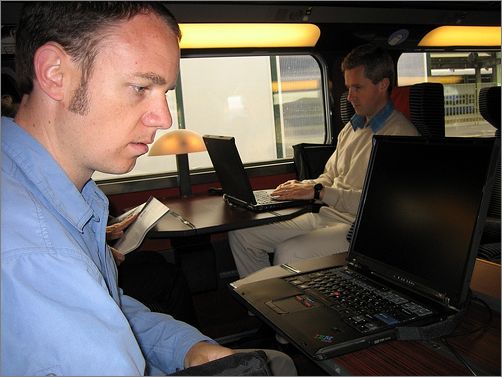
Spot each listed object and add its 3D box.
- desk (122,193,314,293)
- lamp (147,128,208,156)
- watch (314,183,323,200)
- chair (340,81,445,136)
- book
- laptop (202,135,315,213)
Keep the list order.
[{"bbox_3d":[-0.304,0.328,2.492,0.845,0.384,0.801,-3,7,-25],"label":"desk"},{"bbox_3d":[-0.586,-0.365,3.024,0.307,0.110,0.297,0,1,42],"label":"lamp"},{"bbox_3d":[0.472,0.026,2.630,0.065,0.087,0.100,11,34,17],"label":"watch"},{"bbox_3d":[1.057,-0.673,2.870,0.696,0.455,0.382,10,39,33],"label":"chair"},{"bbox_3d":[-0.597,0.241,2.047,0.300,0.107,0.302,-40,20,12],"label":"book"},{"bbox_3d":[0.082,-0.106,2.585,0.675,0.439,0.567,-7,10,-24],"label":"laptop"}]
